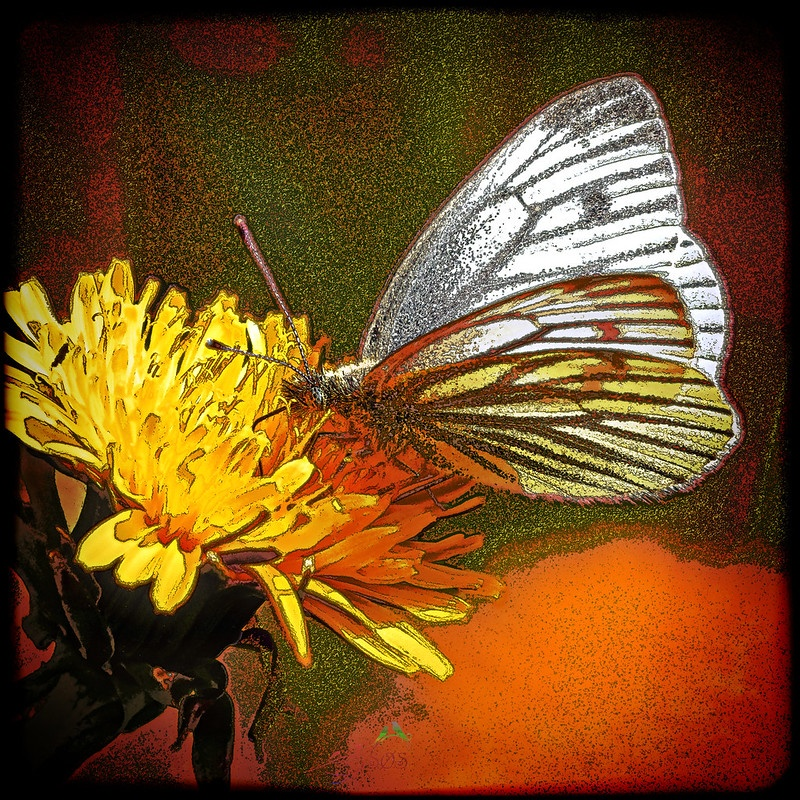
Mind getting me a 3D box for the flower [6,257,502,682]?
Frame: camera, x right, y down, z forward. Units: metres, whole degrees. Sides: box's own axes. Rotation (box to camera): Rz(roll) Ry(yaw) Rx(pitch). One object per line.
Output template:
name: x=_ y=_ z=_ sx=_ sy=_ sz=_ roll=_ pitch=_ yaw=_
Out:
flower: x=-0.163 y=0.070 z=1.413 sx=0.603 sy=0.267 sz=0.609 roll=38 pitch=25 yaw=8
